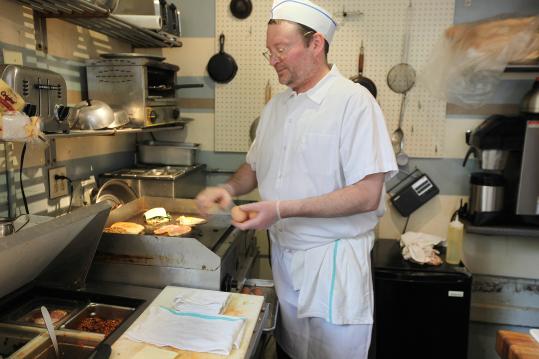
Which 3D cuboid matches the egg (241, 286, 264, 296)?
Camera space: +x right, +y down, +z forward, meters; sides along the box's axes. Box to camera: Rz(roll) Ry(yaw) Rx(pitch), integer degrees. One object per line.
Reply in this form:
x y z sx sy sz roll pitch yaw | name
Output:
-0.098 0.662 2.517 0.073 0.032 0.078 2 -5 3 | egg

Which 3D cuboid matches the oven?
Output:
-1.009 -0.688 3.337 0.431 0.500 0.770 1 11 4 | oven

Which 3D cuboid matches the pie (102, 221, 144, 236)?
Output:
-0.893 0.303 2.656 0.226 0.041 0.249 10 11 38 | pie

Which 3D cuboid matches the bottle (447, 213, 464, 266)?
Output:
1.384 0.464 3.168 0.108 0.298 0.199 6 9 22 | bottle

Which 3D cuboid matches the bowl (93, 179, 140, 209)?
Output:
-1.140 0.096 3.068 0.193 0.190 0.330 6 9 25 | bowl

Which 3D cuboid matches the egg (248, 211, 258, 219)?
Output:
-0.090 0.183 2.219 0.036 0.030 0.043 -3 9 -1 | egg

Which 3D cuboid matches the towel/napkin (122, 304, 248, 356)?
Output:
-0.400 0.716 2.023 0.546 0.109 0.188 4 9 8 | towel/napkin

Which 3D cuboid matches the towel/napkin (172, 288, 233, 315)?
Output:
-0.323 0.656 2.236 0.311 0.066 0.324 1 -3 -25 | towel/napkin

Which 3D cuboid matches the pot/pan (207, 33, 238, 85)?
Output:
-0.414 -1.027 3.641 0.250 0.413 0.057 -1 6 14 | pot/pan
